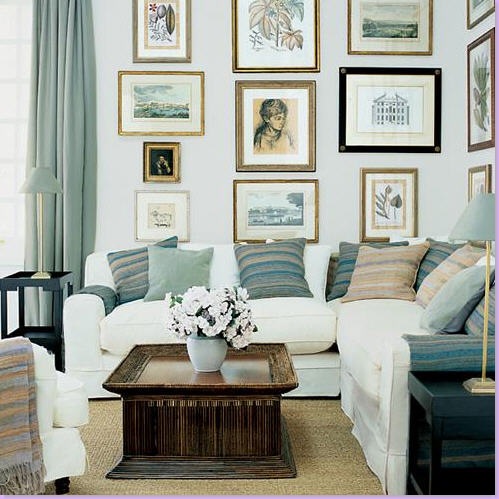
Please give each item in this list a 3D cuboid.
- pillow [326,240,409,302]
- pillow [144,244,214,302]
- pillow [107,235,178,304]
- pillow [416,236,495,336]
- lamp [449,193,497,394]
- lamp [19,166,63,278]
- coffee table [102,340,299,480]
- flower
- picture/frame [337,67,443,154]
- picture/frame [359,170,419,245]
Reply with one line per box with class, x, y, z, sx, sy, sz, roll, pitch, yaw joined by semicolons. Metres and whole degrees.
pillow;0.783;0.216;4.209;0.460;0.480;0.143;-10;-31;43
pillow;-0.486;0.164;3.741;0.311;0.317;0.129;1;-28;-5
pillow;-0.843;0.166;4.016;0.370;0.415;0.123;-12;-35;3
pillow;1.072;0.179;2.827;0.131;0.492;0.463;17;-9;-9
lamp;0.943;0.145;2.379;0.187;0.766;0.616;3;7;20
lamp;-1.510;-0.196;4.101;0.264;0.809;0.785;-2;8;-19
coffee table;-0.215;0.757;2.644;0.603;0.318;0.599;0;5;1
flower;-0.155;0.315;2.693;0.259;0.163;0.234;-6;-13;-40
picture/frame;1.131;-1.145;4.538;0.588;0.567;0.046;0;4;1
picture/frame;1.117;-0.364;4.553;0.525;0.761;0.050;0;2;-4
